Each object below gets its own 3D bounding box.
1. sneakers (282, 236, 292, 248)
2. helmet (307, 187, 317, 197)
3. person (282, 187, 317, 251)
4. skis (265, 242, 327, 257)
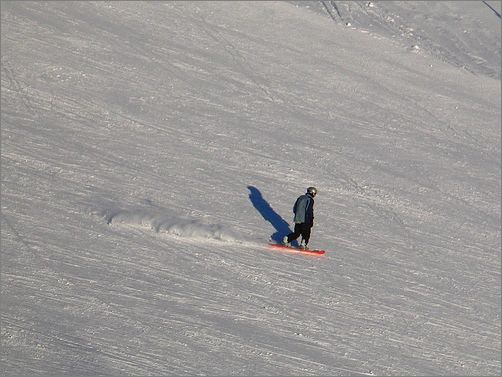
[{"bbox_3d":[0.939,1.494,34.361,0.171,0.294,0.180,-38,61,-5],"label":"sneakers"},{"bbox_3d":[1.682,0.133,34.089,0.305,0.203,0.224,6,24,-26],"label":"helmet"},{"bbox_3d":[1.460,0.916,34.215,0.884,1.730,1.065,17,43,-18],"label":"person"},{"bbox_3d":[1.173,1.712,34.387,2.392,0.183,0.208,6,4,4],"label":"skis"}]
